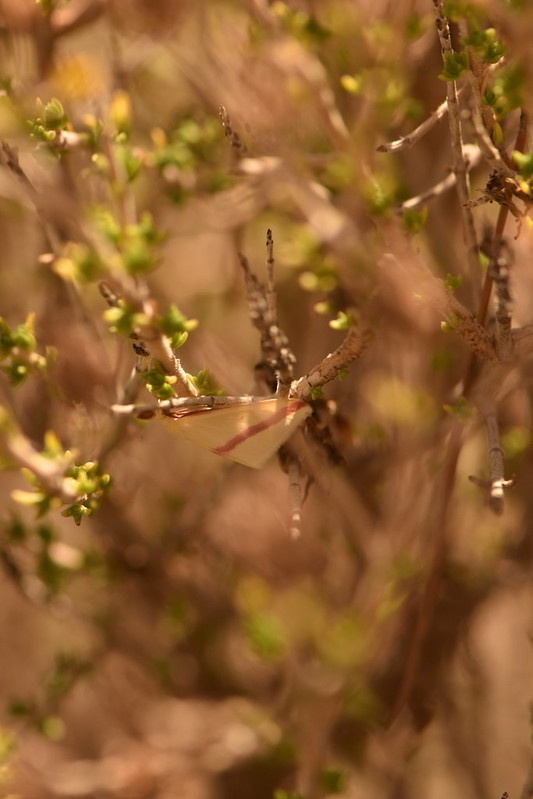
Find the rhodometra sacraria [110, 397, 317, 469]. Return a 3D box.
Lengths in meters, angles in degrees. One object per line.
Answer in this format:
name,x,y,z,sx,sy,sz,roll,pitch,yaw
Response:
rhodometra sacraria,-0.061,0.046,1.349,0.197,0.174,0.064,-6,82,-21
